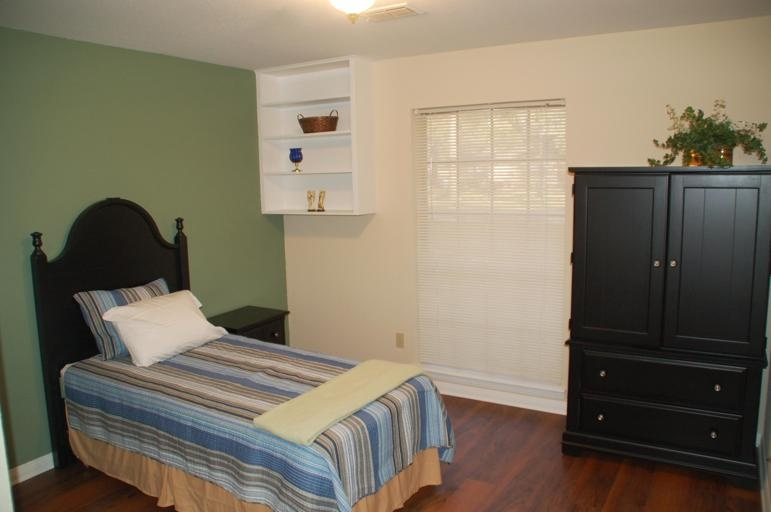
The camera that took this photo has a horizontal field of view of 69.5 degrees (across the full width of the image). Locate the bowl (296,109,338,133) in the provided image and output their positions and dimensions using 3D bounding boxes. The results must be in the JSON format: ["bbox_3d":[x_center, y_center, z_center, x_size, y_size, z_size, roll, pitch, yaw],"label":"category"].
[{"bbox_3d":[-0.702,-1.349,5.618,0.457,0.248,0.290,-2,8,12],"label":"bowl"}]

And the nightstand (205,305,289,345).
[{"bbox_3d":[-1.359,0.658,5.455,0.394,0.525,0.540,5,12,26],"label":"nightstand"}]

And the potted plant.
[{"bbox_3d":[2.404,-0.885,4.173,0.695,0.307,0.713,6,21,32],"label":"potted plant"}]
